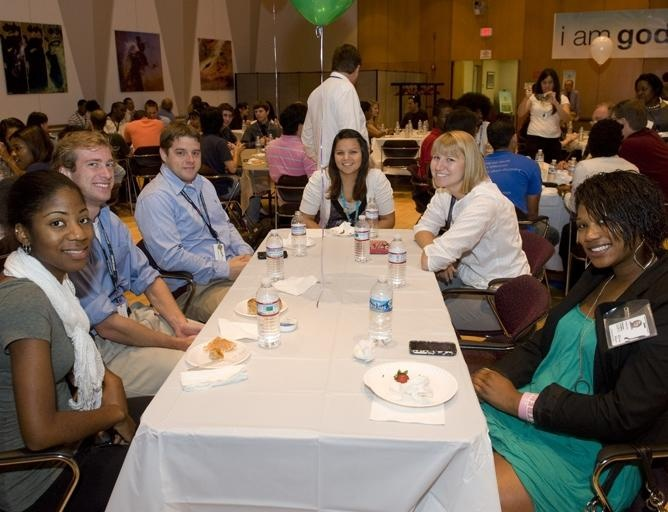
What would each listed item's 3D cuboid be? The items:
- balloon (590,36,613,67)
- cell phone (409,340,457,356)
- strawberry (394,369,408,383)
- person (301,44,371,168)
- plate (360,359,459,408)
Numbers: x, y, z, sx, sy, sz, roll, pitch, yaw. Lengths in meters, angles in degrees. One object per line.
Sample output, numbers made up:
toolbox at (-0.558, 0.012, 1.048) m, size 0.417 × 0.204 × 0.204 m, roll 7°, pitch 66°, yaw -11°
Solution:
balloon at (5.309, -4.111, 9.229) m, size 0.346 × 0.497 × 0.314 m, roll 12°, pitch 21°, yaw 34°
cell phone at (0.369, 0.345, 1.736) m, size 0.114 × 0.017 × 0.075 m, roll 1°, pitch 16°, yaw 6°
strawberry at (0.219, 0.387, 1.505) m, size 0.031 × 0.041 × 0.032 m, roll 0°, pitch 8°, yaw 34°
person at (0.176, -1.300, 4.739) m, size 0.384 × 1.505 × 0.608 m, roll 8°, pitch 30°, yaw 38°
plate at (0.249, 0.413, 1.498) m, size 0.148 × 0.036 × 0.158 m, roll 8°, pitch 19°, yaw 16°
